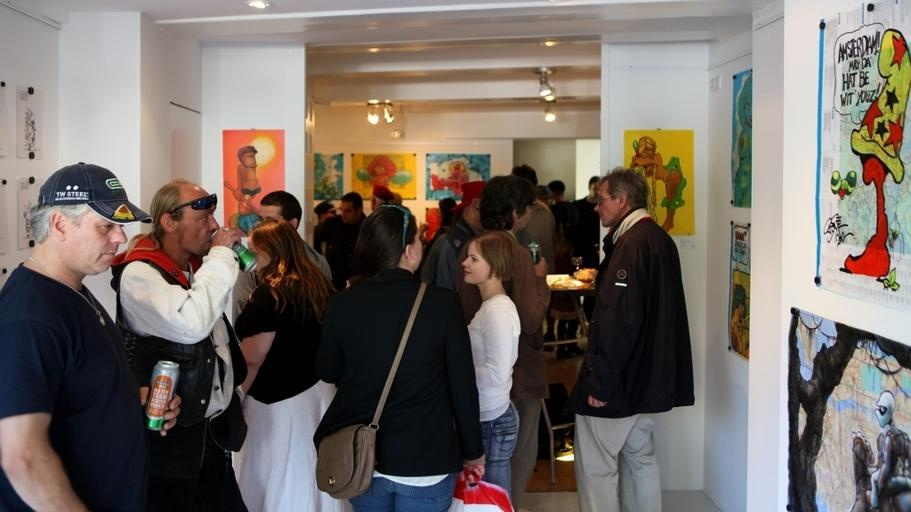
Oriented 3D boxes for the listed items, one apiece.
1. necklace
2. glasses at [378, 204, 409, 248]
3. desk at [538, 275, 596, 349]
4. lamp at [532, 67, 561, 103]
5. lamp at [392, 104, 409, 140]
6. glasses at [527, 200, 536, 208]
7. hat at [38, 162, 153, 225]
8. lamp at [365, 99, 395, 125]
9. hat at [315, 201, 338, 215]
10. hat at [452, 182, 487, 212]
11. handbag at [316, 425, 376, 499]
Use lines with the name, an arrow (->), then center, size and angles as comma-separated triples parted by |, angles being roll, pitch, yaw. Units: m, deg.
necklace -> -1.804, 0.201, 2.947 | 0.373, 0.089, 0.276 | 35, 21, -10
glasses -> -0.327, -0.167, 3.544 | 0.154, 0.242, 0.126 | 0, 4, 17
desk -> 1.052, 0.517, 6.131 | 0.499, 0.584, 0.897 | 1, 7, 2
lamp -> 1.108, -2.138, 7.805 | 0.203, 0.356, 0.247 | -1, 8, 34
lamp -> -0.927, -2.223, 10.575 | 0.222, 0.490, 0.821 | -1, 4, -5
glasses -> 0.554, -0.381, 4.591 | 0.045, 0.058, 0.054 | 0, -26, 9
hat -> -1.683, -0.308, 3.002 | 0.501, 0.250, 0.317 | 4, 4, 0
lamp -> -1.154, -2.213, 9.722 | 0.478, 0.459, 0.580 | 0, -2, 4
hat -> -1.993, -0.741, 9.768 | 0.411, 0.202, 0.296 | -15, 9, -14
hat -> 0.130, -0.481, 5.029 | 0.256, 0.145, 0.172 | -26, 11, 12
handbag -> -0.577, 1.106, 3.429 | 0.376, 0.370, 0.211 | -19, -19, 33
